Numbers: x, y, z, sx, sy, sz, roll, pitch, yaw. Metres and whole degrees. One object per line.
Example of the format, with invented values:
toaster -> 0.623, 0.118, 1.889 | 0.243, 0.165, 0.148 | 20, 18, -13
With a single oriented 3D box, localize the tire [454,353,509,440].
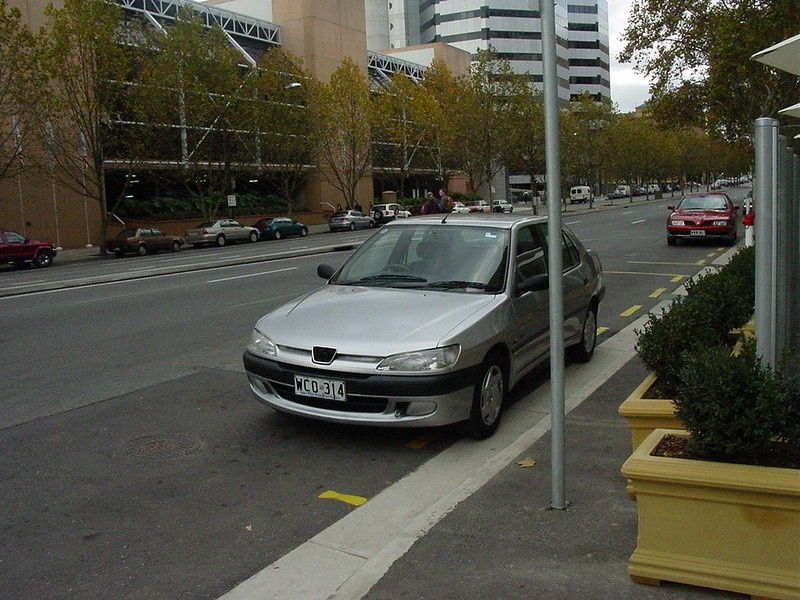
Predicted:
tire -> 0.796, 0.874, 5.704 | 0.166, 0.753, 0.690 | 4, 11, 37

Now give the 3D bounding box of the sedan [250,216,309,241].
sedan -> -8.177, -4.938, 43.551 | 1.578, 1.349, 3.605 | 7, 14, 40

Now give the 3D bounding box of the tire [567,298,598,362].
tire -> 2.245, 0.375, 7.665 | 0.190, 0.695, 0.622 | -2, 9, 34

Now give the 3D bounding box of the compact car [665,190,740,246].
compact car -> 10.885, -2.930, 22.317 | 2.055, 1.778, 2.437 | 7, 13, 43
